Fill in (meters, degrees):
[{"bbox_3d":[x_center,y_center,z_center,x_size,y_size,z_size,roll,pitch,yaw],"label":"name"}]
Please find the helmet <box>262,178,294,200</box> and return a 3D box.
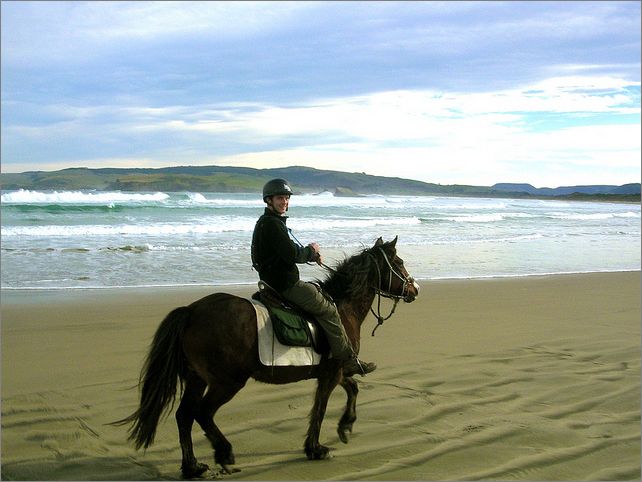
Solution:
[{"bbox_3d":[-0.558,-0.665,7.472,0.364,0.295,0.269,1,12,-4],"label":"helmet"}]
